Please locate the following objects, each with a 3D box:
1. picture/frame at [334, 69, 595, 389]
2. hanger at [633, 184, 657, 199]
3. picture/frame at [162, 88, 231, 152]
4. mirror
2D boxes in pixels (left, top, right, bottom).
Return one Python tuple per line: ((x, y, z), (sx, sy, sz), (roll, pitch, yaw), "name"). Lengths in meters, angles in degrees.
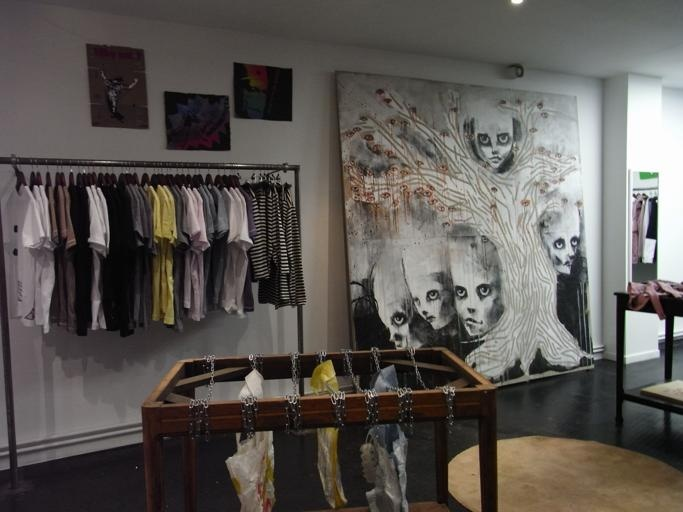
((1.363, -0.370, 5.745), (2.610, 3.063, 0.039), (1, -13, -7), "picture/frame")
((3.575, -0.755, 6.455), (0.411, 0.120, 0.011), (-5, 4, -21), "hanger")
((-1.329, -1.227, 4.882), (0.515, 0.496, 0.041), (-1, 1, -26), "picture/frame")
((3.577, -0.355, 6.474), (0.477, 1.305, 0.094), (-4, 4, -25), "mirror")
